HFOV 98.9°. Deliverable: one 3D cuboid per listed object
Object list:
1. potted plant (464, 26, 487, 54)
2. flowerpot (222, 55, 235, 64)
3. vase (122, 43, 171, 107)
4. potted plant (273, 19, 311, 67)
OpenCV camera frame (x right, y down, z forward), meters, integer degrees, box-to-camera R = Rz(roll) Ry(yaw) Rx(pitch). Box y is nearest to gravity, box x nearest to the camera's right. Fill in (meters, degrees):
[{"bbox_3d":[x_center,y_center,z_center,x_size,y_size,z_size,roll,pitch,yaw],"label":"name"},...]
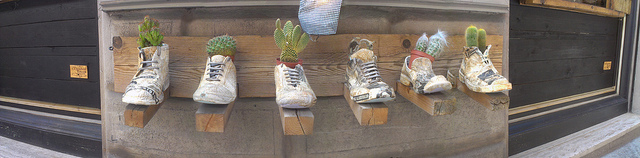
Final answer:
[{"bbox_3d":[4.100,-1.021,7.075,0.387,0.692,0.535,7,7,43],"label":"potted plant"},{"bbox_3d":[-2.272,-0.521,6.919,0.231,0.156,0.094,-3,7,-39],"label":"flowerpot"},{"bbox_3d":[-4.307,-0.127,6.834,0.979,1.472,0.335,2,6,1],"label":"vase"},{"bbox_3d":[-0.691,-0.888,6.880,0.917,1.145,0.218,1,6,-2],"label":"potted plant"}]
